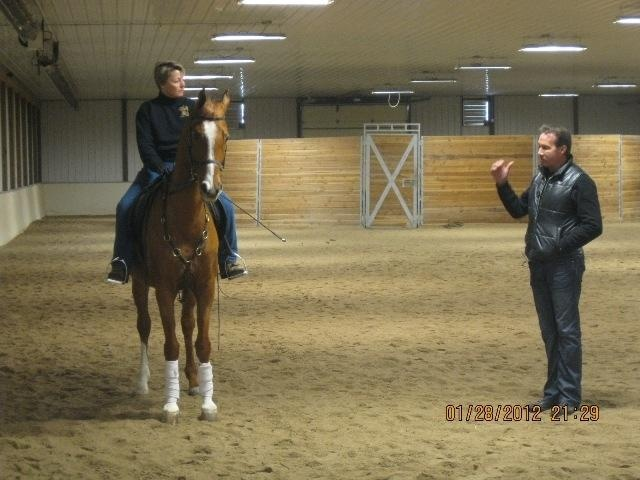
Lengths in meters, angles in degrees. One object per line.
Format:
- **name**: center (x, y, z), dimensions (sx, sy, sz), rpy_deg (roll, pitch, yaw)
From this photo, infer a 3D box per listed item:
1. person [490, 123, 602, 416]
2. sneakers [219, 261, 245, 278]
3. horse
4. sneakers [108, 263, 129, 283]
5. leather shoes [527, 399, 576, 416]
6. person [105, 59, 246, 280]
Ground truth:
- **person**: center (2.075, 0.280, 6.350), dimensions (0.864, 2.571, 0.475), rpy_deg (3, 8, 24)
- **sneakers**: center (-0.886, 0.300, 7.014), dimensions (0.231, 0.213, 0.159), rpy_deg (-2, 8, -10)
- **horse**: center (-1.257, 0.163, 6.386), dimensions (0.799, 2.902, 1.471), rpy_deg (-4, 8, -20)
- **sneakers**: center (-1.943, 0.321, 6.781), dimensions (0.152, 0.231, 0.247), rpy_deg (3, -1, -41)
- **leather shoes**: center (2.115, 1.524, 6.362), dimensions (0.261, 0.085, 0.186), rpy_deg (-13, -3, 28)
- **person**: center (-1.439, -0.654, 6.757), dimensions (1.352, 2.080, 1.201), rpy_deg (-2, 15, -28)
